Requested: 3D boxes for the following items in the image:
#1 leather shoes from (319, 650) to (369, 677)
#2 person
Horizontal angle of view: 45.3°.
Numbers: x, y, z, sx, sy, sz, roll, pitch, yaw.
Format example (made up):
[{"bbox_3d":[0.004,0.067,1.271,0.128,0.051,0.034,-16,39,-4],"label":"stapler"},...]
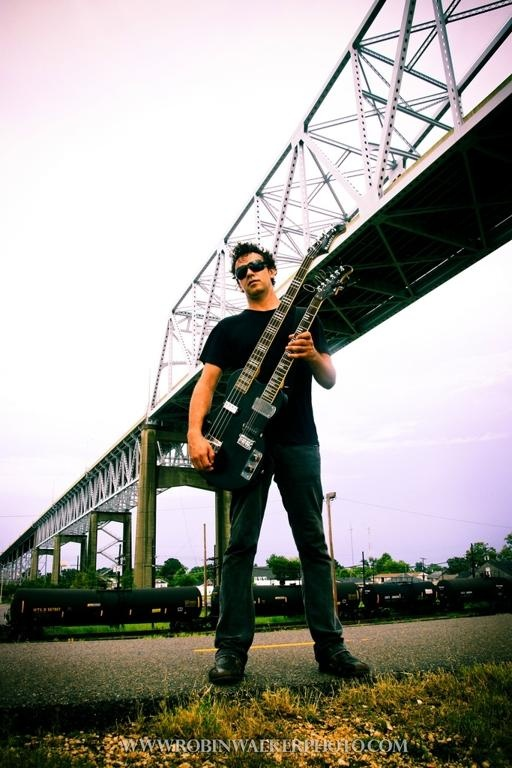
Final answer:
[{"bbox_3d":[0.368,1.190,2.628,0.181,0.090,0.339,1,-17,-14],"label":"leather shoes"},{"bbox_3d":[0.047,0.210,3.048,0.774,2.232,0.701,-1,-17,-7],"label":"person"}]
